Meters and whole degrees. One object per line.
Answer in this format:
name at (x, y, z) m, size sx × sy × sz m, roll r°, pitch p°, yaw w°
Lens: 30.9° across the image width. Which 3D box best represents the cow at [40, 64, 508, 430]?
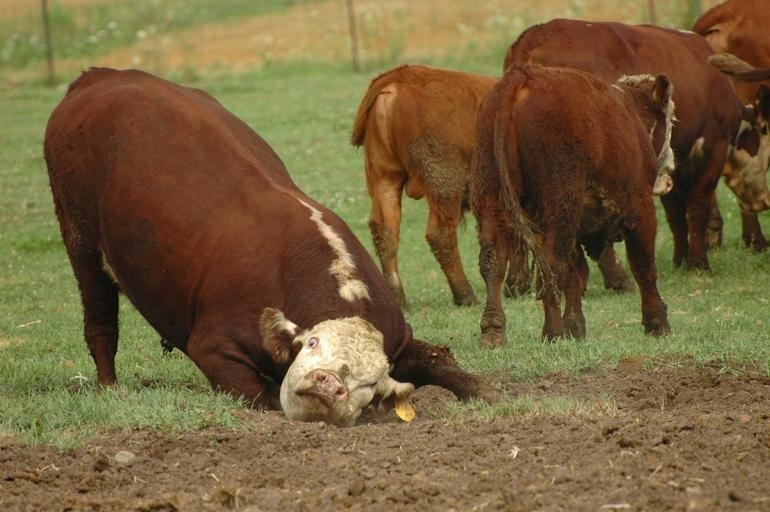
cow at (-1.664, -0.245, 15.472) m, size 4.014 × 4.081 × 1.630 m, roll -2°, pitch 8°, yaw 33°
